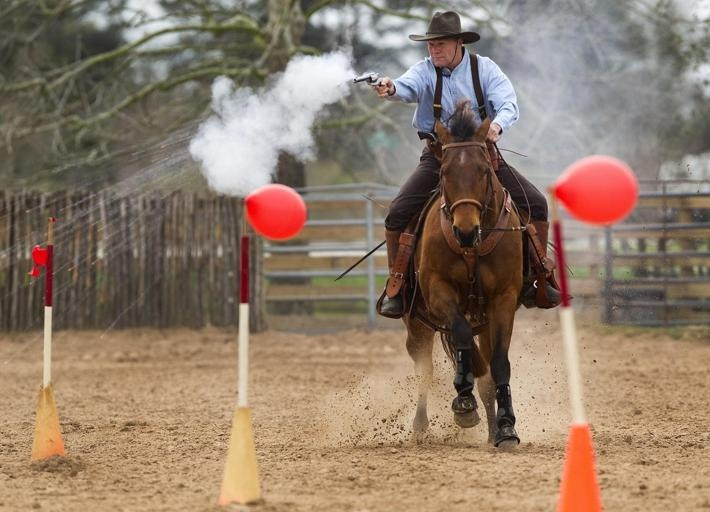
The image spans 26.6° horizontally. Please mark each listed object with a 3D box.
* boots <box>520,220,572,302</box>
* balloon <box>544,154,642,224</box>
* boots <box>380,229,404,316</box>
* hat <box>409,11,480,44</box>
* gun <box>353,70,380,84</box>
[{"bbox_3d":[2.078,0.135,16.956,0.438,1.031,0.463,0,13,6],"label":"boots"},{"bbox_3d":[2.416,-0.642,15.218,0.824,0.717,0.675,0,-15,13],"label":"balloon"},{"bbox_3d":[0.490,0.204,17.368,0.270,1.066,0.720,8,2,8],"label":"boots"},{"bbox_3d":[1.084,-2.563,16.864,0.582,0.347,0.259,-2,13,-4],"label":"hat"},{"bbox_3d":[0.131,-1.933,16.584,0.172,0.139,0.457,9,18,35],"label":"gun"}]
